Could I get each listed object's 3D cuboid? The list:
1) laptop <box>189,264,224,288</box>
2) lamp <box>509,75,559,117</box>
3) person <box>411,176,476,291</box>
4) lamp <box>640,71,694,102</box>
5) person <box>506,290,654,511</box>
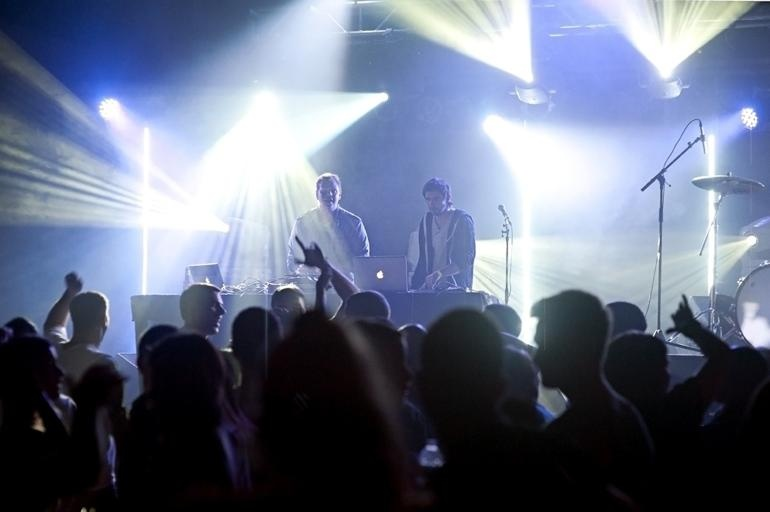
[{"bbox_3d":[-1.942,0.173,6.874,0.418,0.319,0.416,1,2,0],"label":"laptop"},{"bbox_3d":[2.282,-2.633,9.874,0.822,0.415,1.107,-4,12,-11],"label":"lamp"},{"bbox_3d":[0.711,-0.275,7.733,0.814,1.427,1.558,0,-7,2],"label":"person"},{"bbox_3d":[4.331,-2.587,9.498,0.492,0.214,0.446,-5,-1,14],"label":"lamp"},{"bbox_3d":[1.159,0.752,4.127,0.838,1.465,1.655,4,-15,8],"label":"person"}]
